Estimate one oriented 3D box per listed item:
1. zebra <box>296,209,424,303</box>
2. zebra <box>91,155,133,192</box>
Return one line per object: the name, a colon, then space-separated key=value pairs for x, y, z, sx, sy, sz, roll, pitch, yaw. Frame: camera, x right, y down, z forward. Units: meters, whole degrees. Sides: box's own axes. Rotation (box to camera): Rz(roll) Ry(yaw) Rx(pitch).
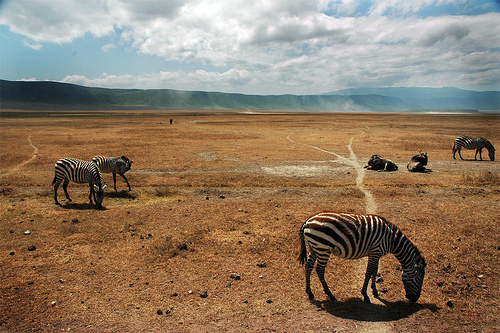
zebra: x=4.535 y=3.744 z=15.223 sx=5.118 sy=3.364 sz=1.493 roll=4 pitch=-2 yaw=1
zebra: x=-9.551 y=0.320 z=25.767 sx=3.500 sy=2.415 sz=0.910 roll=8 pitch=12 yaw=17
